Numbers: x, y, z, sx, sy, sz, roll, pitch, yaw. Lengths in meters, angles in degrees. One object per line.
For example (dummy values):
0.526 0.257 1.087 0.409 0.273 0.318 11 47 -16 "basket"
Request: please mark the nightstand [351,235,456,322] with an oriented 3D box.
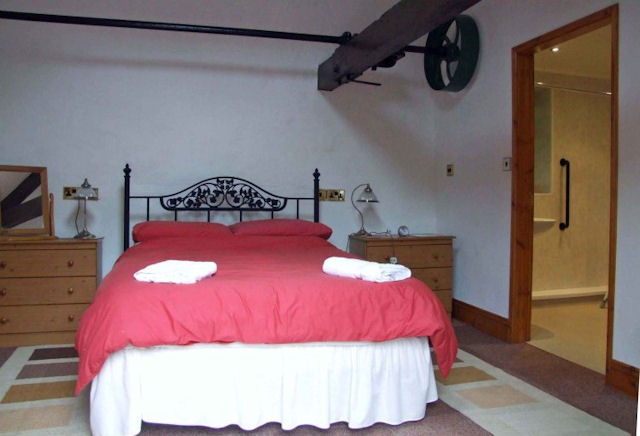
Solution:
0.925 0.587 5.035 0.923 0.890 0.581 -2 8 -4 "nightstand"
